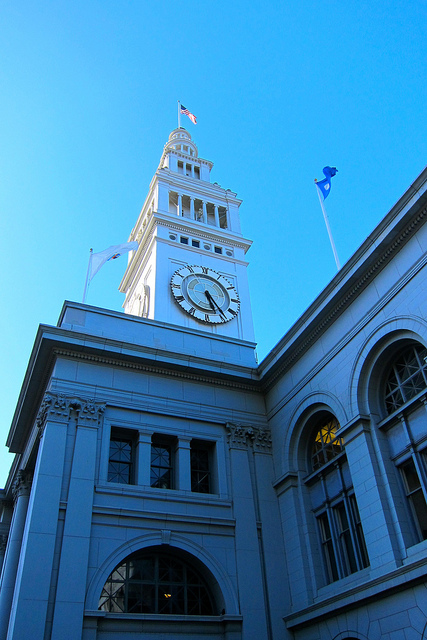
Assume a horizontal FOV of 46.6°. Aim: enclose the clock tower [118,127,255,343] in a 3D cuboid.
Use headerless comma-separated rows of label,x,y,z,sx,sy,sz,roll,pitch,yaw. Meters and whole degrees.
clock tower,-2.281,-7.386,39.633,8.401,22.108,5.190,0,-35,-6
